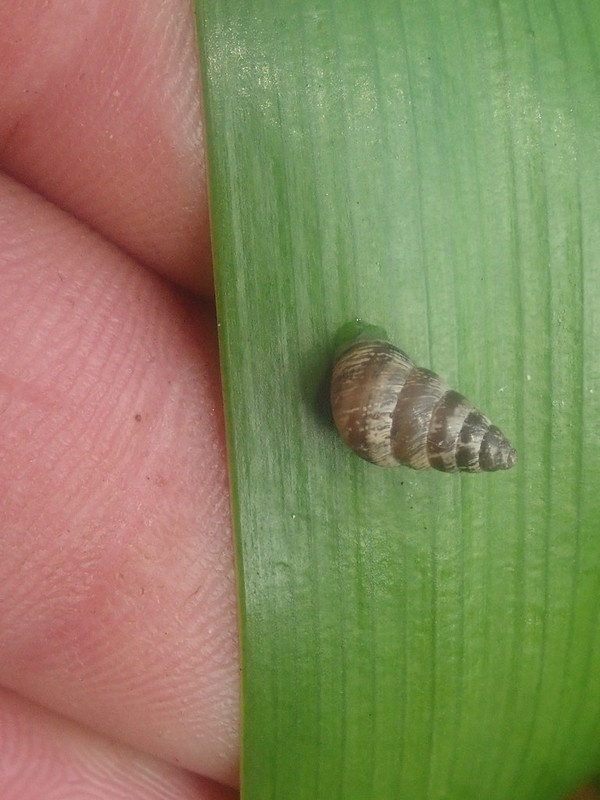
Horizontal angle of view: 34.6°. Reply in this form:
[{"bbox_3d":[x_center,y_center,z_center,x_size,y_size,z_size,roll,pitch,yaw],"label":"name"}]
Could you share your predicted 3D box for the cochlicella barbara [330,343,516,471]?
[{"bbox_3d":[0.095,0.019,0.849,0.160,0.081,0.065,21,-30,20],"label":"cochlicella barbara"}]
